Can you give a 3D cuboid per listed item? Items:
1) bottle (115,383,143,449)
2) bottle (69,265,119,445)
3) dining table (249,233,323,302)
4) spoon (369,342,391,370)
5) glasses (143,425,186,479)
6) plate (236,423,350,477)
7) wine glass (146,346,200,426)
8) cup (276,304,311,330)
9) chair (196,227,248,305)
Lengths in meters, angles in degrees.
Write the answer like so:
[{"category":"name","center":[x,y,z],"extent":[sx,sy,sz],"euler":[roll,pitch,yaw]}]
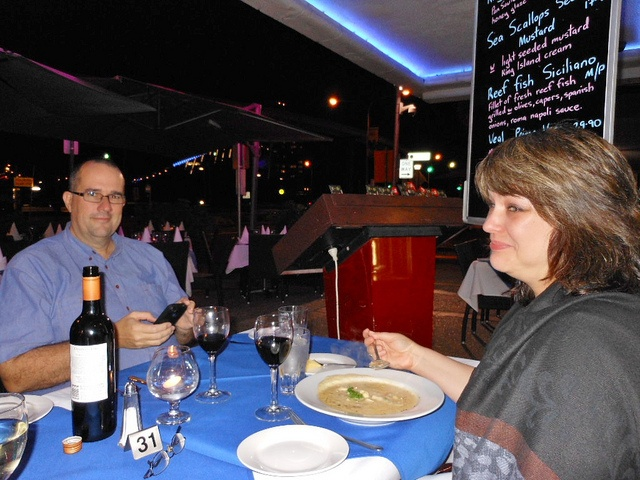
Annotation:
[{"category":"bottle","center":[-0.539,0.479,1.361],"extent":[0.065,0.160,0.162],"euler":[-5,13,-24]},{"category":"bottle","center":[-0.652,0.306,1.378],"extent":[0.119,0.487,0.162],"euler":[-3,13,-16]},{"category":"dining table","center":[-0.638,0.398,7.378],"extent":[1.110,1.326,0.967],"euler":[-2,4,-33]},{"category":"spoon","center":[0.216,0.429,1.802],"extent":[0.055,0.096,0.023],"euler":[-1,-37,-4]},{"category":"glasses","center":[-0.417,0.561,1.284],"extent":[0.068,0.042,0.150],"euler":[4,12,16]},{"category":"plate","center":[-0.071,0.555,1.281],"extent":[0.288,0.053,0.175],"euler":[-2,12,-14]},{"category":"wine glass","center":[-0.451,0.451,1.512],"extent":[0.152,0.207,0.157],"euler":[-2,-4,35]},{"category":"cup","center":[-0.104,0.292,1.894],"extent":[0.104,0.114,0.105],"euler":[0,-6,0]},{"category":"chair","center":[-1.430,0.412,6.501],"extent":[0.604,0.800,0.506],"euler":[4,3,6]}]
